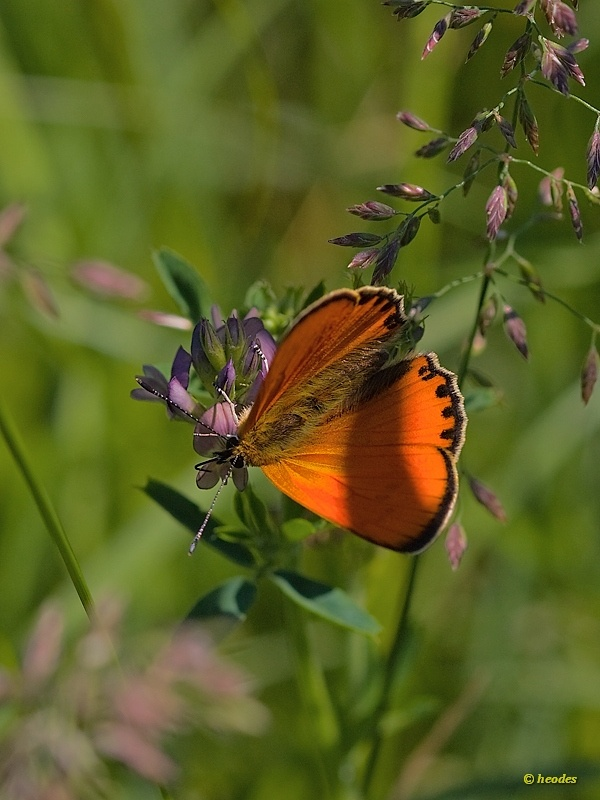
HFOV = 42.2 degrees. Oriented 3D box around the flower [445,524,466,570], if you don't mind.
[{"bbox_3d":[0.199,0.185,0.996,0.030,0.010,0.064,27,50,-21],"label":"flower"}]
